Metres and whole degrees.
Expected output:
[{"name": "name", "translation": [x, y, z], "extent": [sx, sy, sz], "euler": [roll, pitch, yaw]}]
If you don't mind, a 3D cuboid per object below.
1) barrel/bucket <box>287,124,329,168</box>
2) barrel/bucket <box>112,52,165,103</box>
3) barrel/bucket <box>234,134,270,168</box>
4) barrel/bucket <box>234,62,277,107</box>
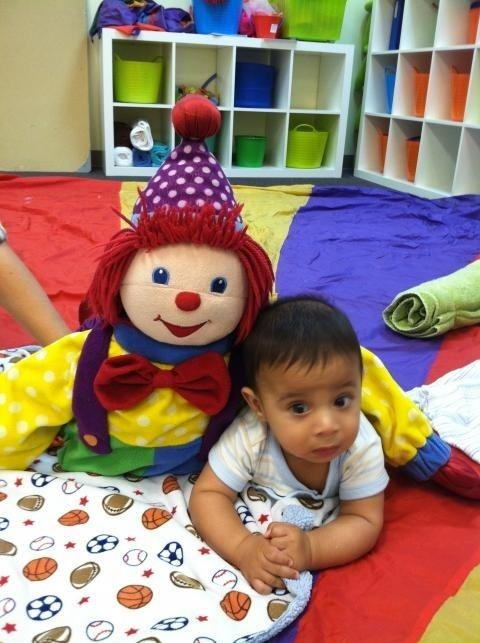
[{"name": "barrel/bucket", "translation": [0.382, -1.054, 3.297], "extent": [0.278, 0.230, 0.290], "euler": [1, 21, -1]}, {"name": "barrel/bucket", "translation": [-0.540, -1.273, 2.925], "extent": [0.317, 0.211, 0.260], "euler": [-6, 19, -17]}, {"name": "barrel/bucket", "translation": [0.062, -0.982, 3.190], "extent": [0.208, 0.147, 0.208], "euler": [3, 16, -1]}, {"name": "barrel/bucket", "translation": [0.102, -1.361, 3.209], "extent": [0.276, 0.251, 0.270], "euler": [1, 20, 0]}]
